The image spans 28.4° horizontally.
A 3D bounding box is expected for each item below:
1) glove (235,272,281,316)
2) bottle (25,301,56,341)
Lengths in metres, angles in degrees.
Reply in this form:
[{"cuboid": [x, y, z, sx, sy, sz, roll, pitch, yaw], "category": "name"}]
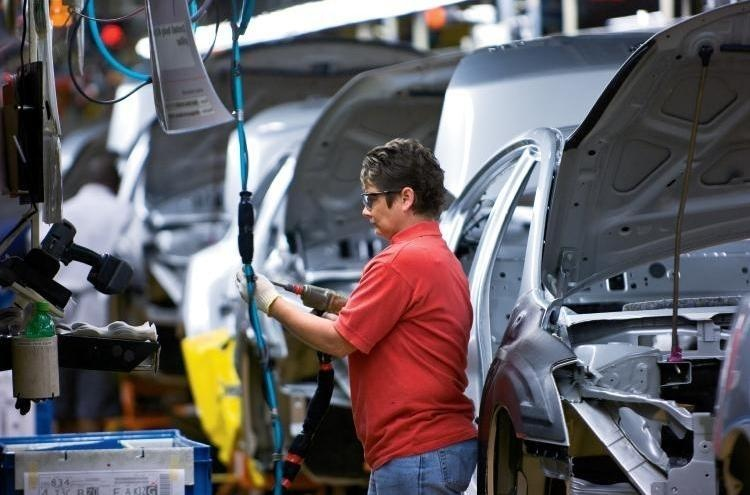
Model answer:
[{"cuboid": [-0.690, 0.253, 9.056, 0.114, 0.286, 0.205, -15, -25, -45], "category": "glove"}, {"cuboid": [-1.975, 0.421, 8.826, 0.163, 0.217, 0.171, 8, 8, -1], "category": "bottle"}]
